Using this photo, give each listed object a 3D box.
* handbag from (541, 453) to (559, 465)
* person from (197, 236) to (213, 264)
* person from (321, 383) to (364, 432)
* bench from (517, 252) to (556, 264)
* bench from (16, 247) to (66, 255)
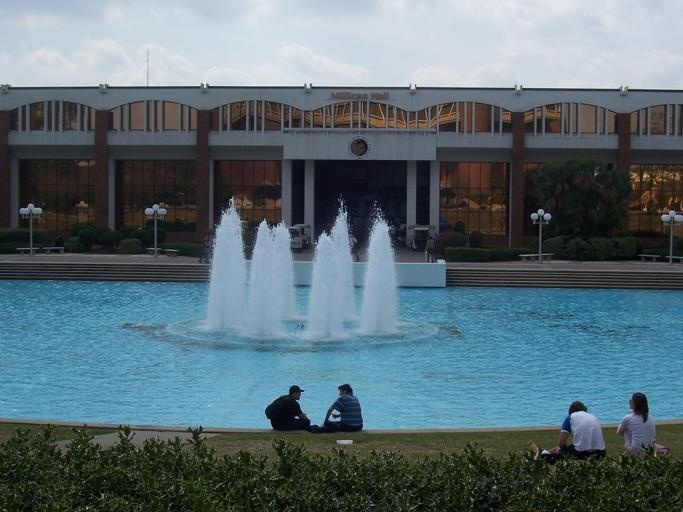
[{"bbox_3d":[8.283,7.887,59.600,0.709,0.394,1.448,0,1,11],"label":"handbag"},{"bbox_3d":[-8.125,-0.329,91.621,0.620,0.580,1.703,11,-27,-6],"label":"person"},{"bbox_3d":[0.168,6.208,62.498,1.592,1.903,0.695,0,2,1],"label":"person"},{"bbox_3d":[12.537,0.039,95.288,2.760,0.464,1.949,-1,2,-18],"label":"bench"},{"bbox_3d":[-18.919,-0.410,96.637,1.828,0.386,4.130,0,2,23],"label":"bench"}]
